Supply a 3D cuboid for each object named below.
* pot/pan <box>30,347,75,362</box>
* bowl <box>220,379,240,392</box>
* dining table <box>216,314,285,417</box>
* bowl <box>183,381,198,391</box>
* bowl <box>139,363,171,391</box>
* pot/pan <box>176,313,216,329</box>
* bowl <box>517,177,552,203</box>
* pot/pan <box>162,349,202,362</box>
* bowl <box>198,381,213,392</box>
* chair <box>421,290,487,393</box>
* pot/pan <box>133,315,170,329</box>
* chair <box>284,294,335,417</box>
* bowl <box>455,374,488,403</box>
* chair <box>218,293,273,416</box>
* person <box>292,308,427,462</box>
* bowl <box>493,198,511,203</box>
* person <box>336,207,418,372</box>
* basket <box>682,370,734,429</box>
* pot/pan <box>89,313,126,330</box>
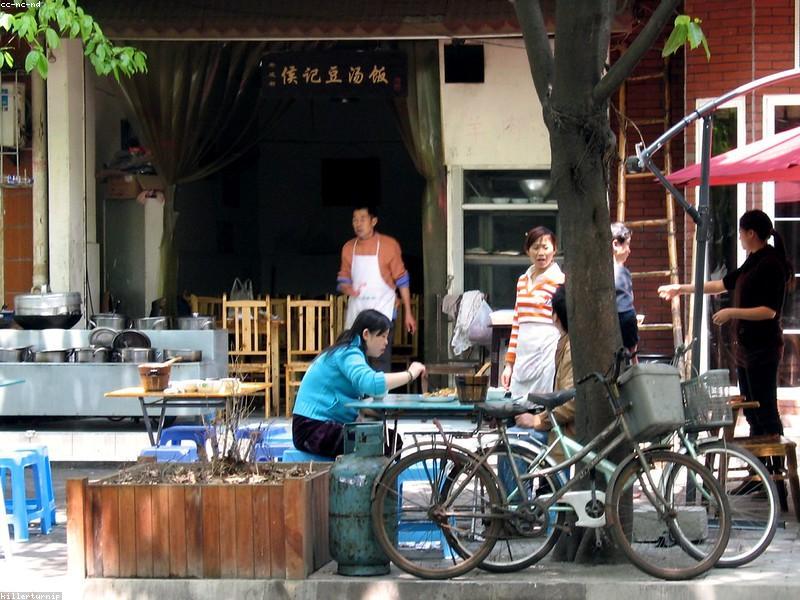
[{"bbox_3d":[-3.830,0.591,15.701,0.425,0.156,0.163,-1,-3,-16],"label":"pot/pan"},{"bbox_3d":[-1.614,0.785,13.539,0.183,0.144,0.894,-2,-4,-8],"label":"bowl"},{"bbox_3d":[-1.798,0.671,17.208,0.848,1.318,0.887,-4,-4,44],"label":"dining table"},{"bbox_3d":[-2.043,0.820,13.868,0.190,0.098,0.049,-5,-4,33],"label":"bowl"},{"bbox_3d":[-2.438,0.736,14.144,0.243,0.209,0.261,-2,-1,0],"label":"bowl"},{"bbox_3d":[-2.292,0.209,16.075,0.246,0.193,0.209,0,1,13],"label":"pot/pan"},{"bbox_3d":[1.554,-1.258,16.212,0.262,0.219,0.276,-1,-2,0],"label":"bowl"},{"bbox_3d":[-2.403,0.580,15.639,0.415,0.140,0.208,-2,-4,-9],"label":"pot/pan"},{"bbox_3d":[-1.880,0.811,13.779,0.129,0.105,0.251,-1,-4,-24],"label":"bowl"},{"bbox_3d":[0.664,0.513,15.827,0.654,1.366,0.769,-6,3,-41],"label":"chair"},{"bbox_3d":[-2.861,0.238,16.299,0.360,0.164,0.653,-2,-4,-12],"label":"pot/pan"},{"bbox_3d":[-1.021,0.709,16.769,0.682,1.466,0.796,0,6,0],"label":"chair"},{"bbox_3d":[0.606,0.732,12.112,0.215,0.177,0.221,1,-4,0],"label":"bowl"},{"bbox_3d":[-1.744,0.656,17.242,0.656,1.379,0.720,-1,1,4],"label":"chair"},{"bbox_3d":[-0.346,0.892,12.429,1.125,1.713,0.784,-1,-7,33],"label":"person"},{"bbox_3d":[1.171,-1.174,16.278,0.199,0.091,0.033,-3,-3,4],"label":"bowl"},{"bbox_3d":[-0.283,0.106,16.430,0.849,2.540,0.806,3,27,3],"label":"person"},{"bbox_3d":[2.584,0.863,11.833,0.377,0.399,0.267,17,0,-28],"label":"basket"},{"bbox_3d":[-3.302,0.208,16.161,0.224,0.188,0.241,1,1,23],"label":"pot/pan"}]
